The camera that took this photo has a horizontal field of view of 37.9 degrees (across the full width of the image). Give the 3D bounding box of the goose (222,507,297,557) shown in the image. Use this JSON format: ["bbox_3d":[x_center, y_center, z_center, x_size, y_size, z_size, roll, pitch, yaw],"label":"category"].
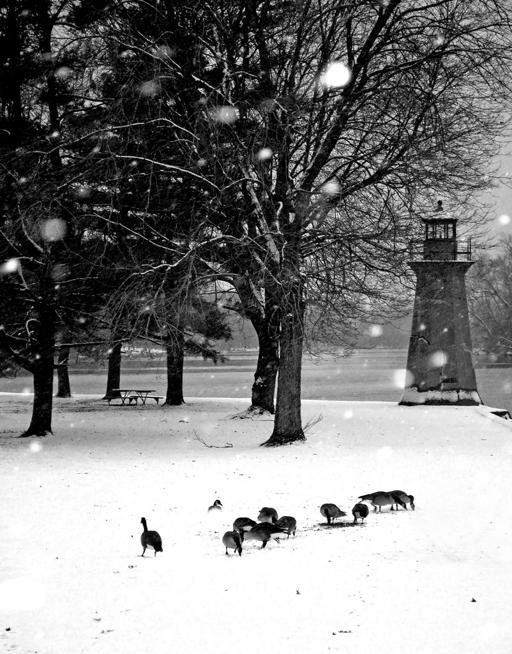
[{"bbox_3d":[0.068,2.366,8.528,0.702,0.438,1.226,2,0,9],"label":"goose"}]

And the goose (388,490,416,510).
[{"bbox_3d":[1.968,2.285,9.873,0.286,0.123,0.309,11,-11,32],"label":"goose"}]

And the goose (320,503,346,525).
[{"bbox_3d":[0.960,2.336,9.326,0.302,0.263,0.405,2,0,5],"label":"goose"}]

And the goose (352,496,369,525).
[{"bbox_3d":[1.292,2.322,9.293,0.190,0.296,0.415,2,0,7],"label":"goose"}]

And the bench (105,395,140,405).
[{"bbox_3d":[-5.710,3.214,32.133,1.015,0.227,0.984,0,0,-7],"label":"bench"}]

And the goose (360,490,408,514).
[{"bbox_3d":[1.719,2.328,9.977,0.584,0.273,0.593,2,0,11],"label":"goose"}]
